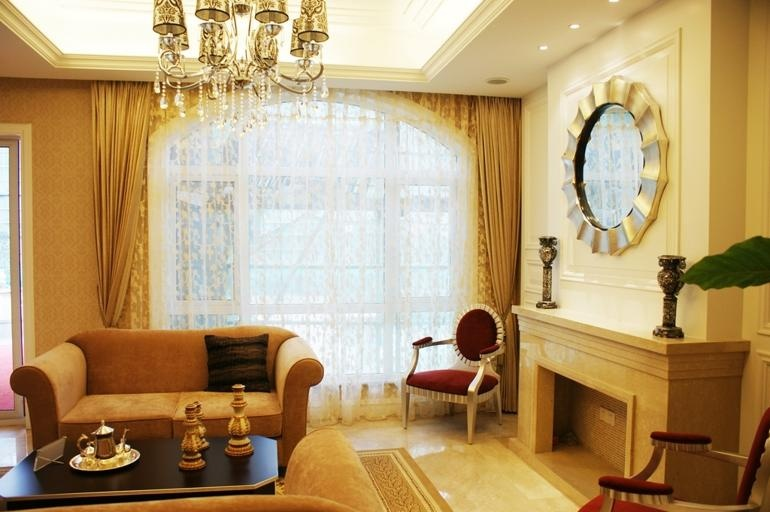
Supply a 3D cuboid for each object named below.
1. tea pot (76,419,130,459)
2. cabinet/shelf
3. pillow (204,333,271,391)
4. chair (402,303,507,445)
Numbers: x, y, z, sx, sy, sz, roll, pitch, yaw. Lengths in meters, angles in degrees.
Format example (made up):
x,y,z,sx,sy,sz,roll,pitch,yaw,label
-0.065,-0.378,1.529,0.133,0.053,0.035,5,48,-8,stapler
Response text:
x,y,z,sx,sy,sz,roll,pitch,yaw,label
-1.987,1.298,4.186,0.346,0.244,0.163,-6,-4,-21,tea pot
1.890,1.108,4.481,0.488,0.989,1.493,-2,4,-24,cabinet/shelf
-1.364,0.989,5.431,0.451,0.429,0.175,1,-33,-12,pillow
0.725,1.119,5.977,0.874,1.239,0.842,1,0,39,chair
